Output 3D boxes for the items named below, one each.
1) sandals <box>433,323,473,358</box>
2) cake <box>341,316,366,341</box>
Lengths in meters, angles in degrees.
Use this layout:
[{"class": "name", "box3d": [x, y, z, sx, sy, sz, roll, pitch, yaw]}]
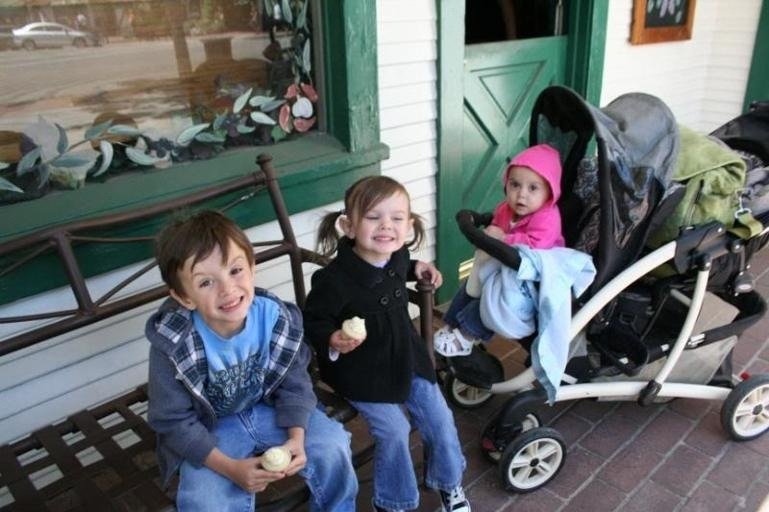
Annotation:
[{"class": "sandals", "box3d": [0.387, 0.491, 3.045, 0.226, 0.109, 0.151, 5, 55, -13]}, {"class": "cake", "box3d": [-0.127, 0.311, 2.307, 0.101, 0.060, 0.103, 26, 37, 0]}]
